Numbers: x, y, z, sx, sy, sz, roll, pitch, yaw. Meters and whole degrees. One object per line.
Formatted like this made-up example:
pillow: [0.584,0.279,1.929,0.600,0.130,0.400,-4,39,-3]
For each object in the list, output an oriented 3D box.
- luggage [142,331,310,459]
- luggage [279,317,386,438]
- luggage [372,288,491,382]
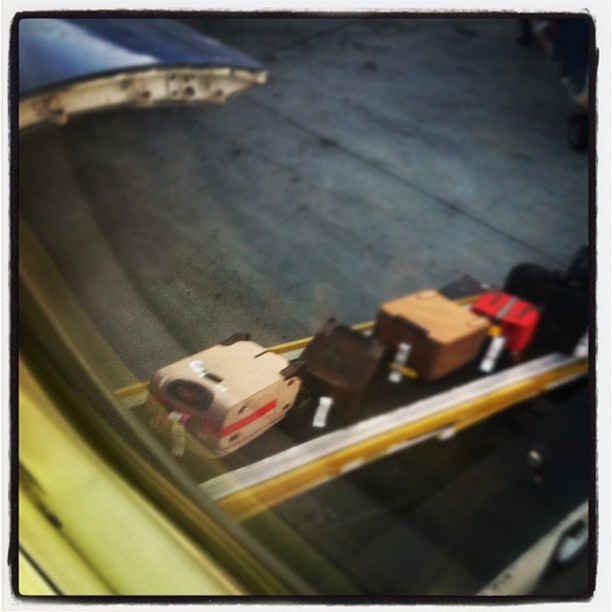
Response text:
luggage: [-0.227,0.304,2.004,0.473,0.195,0.334,-28,54,-31]
luggage: [0.083,0.220,1.935,0.311,0.364,0.113,35,-10,10]
luggage: [0.446,0.105,2.055,0.350,0.206,0.317,-23,54,-37]
